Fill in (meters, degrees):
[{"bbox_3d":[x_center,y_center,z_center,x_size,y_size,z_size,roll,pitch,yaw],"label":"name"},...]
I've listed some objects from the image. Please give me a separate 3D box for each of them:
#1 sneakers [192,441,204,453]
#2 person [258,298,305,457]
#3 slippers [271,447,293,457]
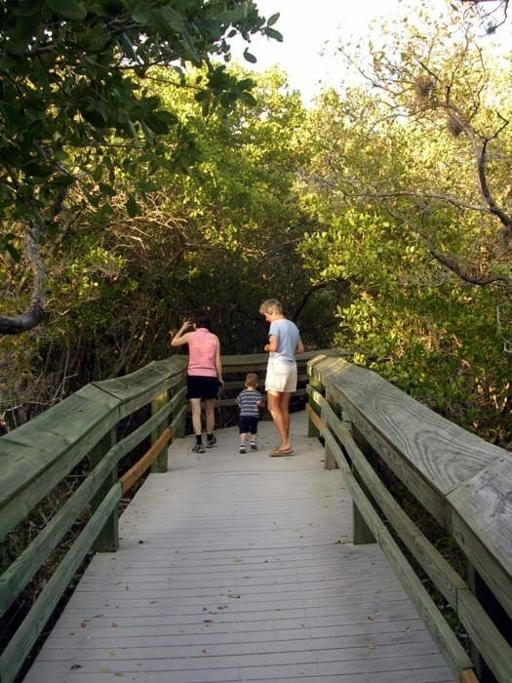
[{"bbox_3d":[-0.722,1.330,6.439,0.162,0.149,0.184,0,-1,-8],"label":"sneakers"},{"bbox_3d":[0.323,0.419,6.294,0.491,1.922,1.068,-1,-1,2],"label":"person"},{"bbox_3d":[0.307,1.304,6.013,0.186,0.074,0.113,1,-1,-8],"label":"slippers"}]
